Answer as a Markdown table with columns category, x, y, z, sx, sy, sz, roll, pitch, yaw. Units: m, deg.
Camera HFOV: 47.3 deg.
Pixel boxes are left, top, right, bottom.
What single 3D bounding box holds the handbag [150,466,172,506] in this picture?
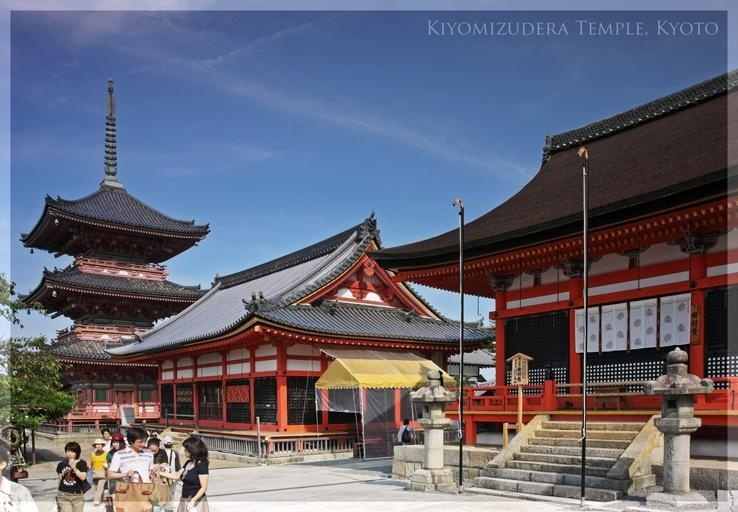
| category | x | y | z | sx | sy | sz | roll | pitch | yaw |
| --- | --- | --- | --- | --- | --- | --- | --- | --- | --- |
| handbag | -4.927 | 5.435 | 19.980 | 0.565 | 1.042 | 1.115 | 4 | -20 | -18 |
